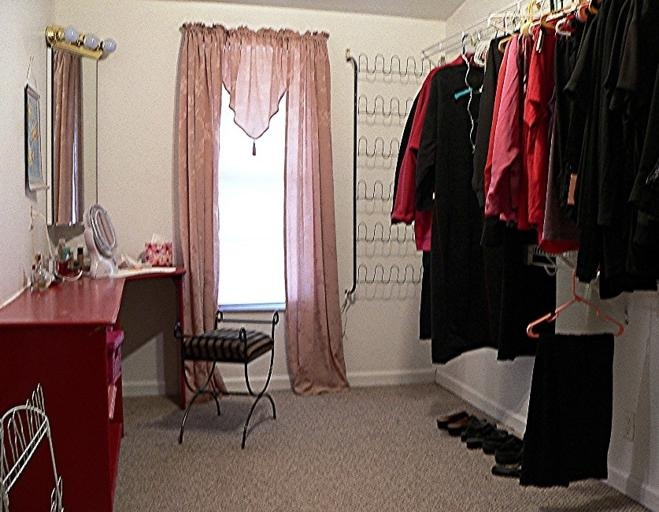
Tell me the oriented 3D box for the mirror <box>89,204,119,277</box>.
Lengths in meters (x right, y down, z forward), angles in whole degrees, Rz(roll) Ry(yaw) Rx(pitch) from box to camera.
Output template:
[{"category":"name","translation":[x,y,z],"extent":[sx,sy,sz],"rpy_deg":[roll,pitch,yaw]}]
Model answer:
[{"category":"mirror","translation":[-1.471,-0.109,3.802],"extent":[0.086,0.451,0.295],"rpy_deg":[-8,-16,9]}]

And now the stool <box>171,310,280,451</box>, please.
[{"category":"stool","translation":[-0.650,0.783,3.822],"extent":[0.428,0.885,0.699],"rpy_deg":[2,2,19]}]

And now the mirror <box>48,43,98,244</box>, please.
[{"category":"mirror","translation":[-1.693,-0.939,3.874],"extent":[0.058,0.876,0.347],"rpy_deg":[15,14,36]}]

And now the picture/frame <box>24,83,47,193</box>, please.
[{"category":"picture/frame","translation":[-1.694,-0.671,3.348],"extent":[0.071,0.588,0.446],"rpy_deg":[-2,8,-21]}]

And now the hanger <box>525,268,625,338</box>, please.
[{"category":"hanger","translation":[1.257,0.247,2.985],"extent":[0.477,0.398,0.037],"rpy_deg":[-3,27,18]}]
